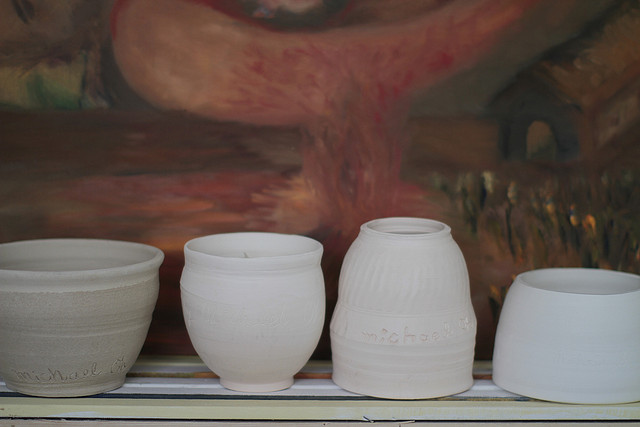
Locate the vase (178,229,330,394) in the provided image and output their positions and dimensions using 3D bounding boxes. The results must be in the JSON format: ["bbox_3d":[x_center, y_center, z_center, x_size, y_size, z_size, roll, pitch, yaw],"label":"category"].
[{"bbox_3d":[-0.200,0.273,1.855,0.406,0.311,0.371,-2,-3,-30],"label":"vase"}]

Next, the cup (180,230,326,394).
[{"bbox_3d":[-0.144,0.225,1.890,0.413,0.361,0.368,0,3,-2],"label":"cup"}]

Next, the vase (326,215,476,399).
[{"bbox_3d":[0.193,0.217,1.880,0.408,0.365,0.370,0,8,-3],"label":"vase"}]

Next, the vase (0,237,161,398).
[{"bbox_3d":[-0.557,0.222,1.858,0.401,0.266,0.392,2,1,8],"label":"vase"}]

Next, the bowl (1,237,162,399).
[{"bbox_3d":[-0.546,0.238,1.838,0.411,0.268,0.391,4,-1,0],"label":"bowl"}]

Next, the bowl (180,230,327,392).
[{"bbox_3d":[-0.171,0.263,1.849,0.387,0.297,0.343,2,-2,-29],"label":"bowl"}]

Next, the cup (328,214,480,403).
[{"bbox_3d":[0.112,0.206,1.902,0.432,0.385,0.389,-2,9,-8],"label":"cup"}]

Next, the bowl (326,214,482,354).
[{"bbox_3d":[0.192,0.161,1.887,0.350,0.280,0.320,3,1,0],"label":"bowl"}]
